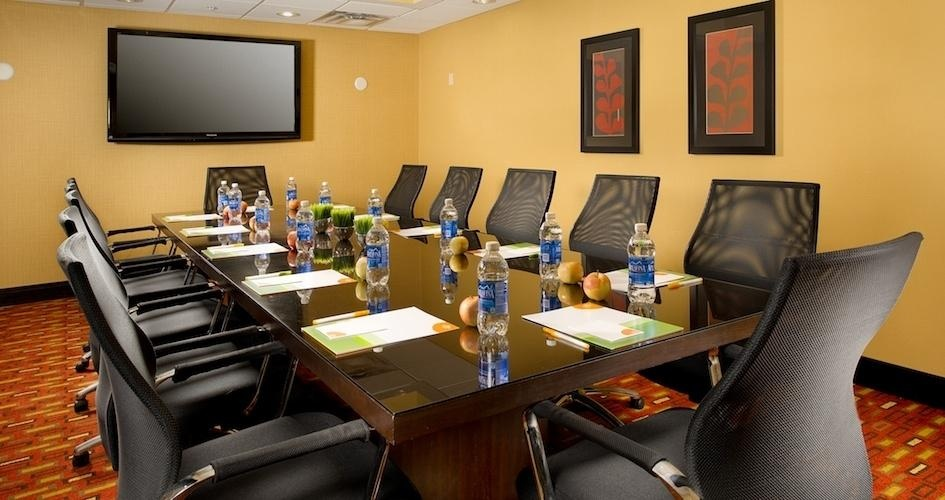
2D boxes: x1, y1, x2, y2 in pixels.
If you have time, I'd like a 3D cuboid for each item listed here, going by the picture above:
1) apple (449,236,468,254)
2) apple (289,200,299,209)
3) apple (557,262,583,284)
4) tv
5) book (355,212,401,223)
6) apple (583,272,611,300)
[{"bbox_3d":[-0.096,-0.033,3.812,0.126,0.112,0.120,0,4,11],"label":"apple"},{"bbox_3d":[-1.751,-0.444,5.266,0.097,0.048,0.092,-2,7,-22],"label":"apple"},{"bbox_3d":[0.585,0.141,3.246,0.143,0.123,0.131,-3,-8,33],"label":"apple"},{"bbox_3d":[-3.593,-2.169,6.959,1.870,1.072,0.141,-2,5,-30],"label":"tv"},{"bbox_3d":[-0.839,-0.287,4.732,0.326,0.068,0.298,-1,2,-35],"label":"book"},{"bbox_3d":[0.681,0.200,3.037,0.161,0.173,0.162,-2,0,-36],"label":"apple"}]
